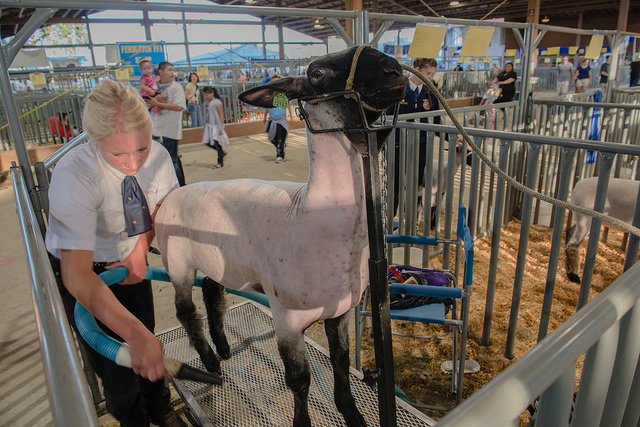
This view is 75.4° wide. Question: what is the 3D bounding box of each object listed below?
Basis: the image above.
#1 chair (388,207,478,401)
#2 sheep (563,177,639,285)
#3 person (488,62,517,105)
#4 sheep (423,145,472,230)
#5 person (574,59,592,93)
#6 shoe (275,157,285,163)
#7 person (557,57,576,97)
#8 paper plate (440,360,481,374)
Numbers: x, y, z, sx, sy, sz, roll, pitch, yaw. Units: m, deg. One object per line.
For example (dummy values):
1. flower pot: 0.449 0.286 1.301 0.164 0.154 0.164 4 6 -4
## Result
1. chair: 0.735 0.779 3.124 0.643 0.871 0.896 3 -3 19
2. sheep: 3.076 0.162 4.658 0.669 1.117 0.508 -4 20 -5
3. person: 4.944 -3.474 11.047 0.474 1.061 1.721 6 21 22
4. sheep: 1.682 -0.409 6.000 0.437 0.972 1.543 12 4 -5
5. person: 9.387 -4.910 14.764 0.467 1.117 2.055 10 23 29
6. shoe: -0.924 -1.254 9.695 0.121 0.129 0.315 1 9 6
7. person: 9.227 -5.178 15.554 0.662 1.319 3.176 9 23 28
8. paper plate: 1.195 1.299 3.505 0.229 0.043 0.171 3 12 0
